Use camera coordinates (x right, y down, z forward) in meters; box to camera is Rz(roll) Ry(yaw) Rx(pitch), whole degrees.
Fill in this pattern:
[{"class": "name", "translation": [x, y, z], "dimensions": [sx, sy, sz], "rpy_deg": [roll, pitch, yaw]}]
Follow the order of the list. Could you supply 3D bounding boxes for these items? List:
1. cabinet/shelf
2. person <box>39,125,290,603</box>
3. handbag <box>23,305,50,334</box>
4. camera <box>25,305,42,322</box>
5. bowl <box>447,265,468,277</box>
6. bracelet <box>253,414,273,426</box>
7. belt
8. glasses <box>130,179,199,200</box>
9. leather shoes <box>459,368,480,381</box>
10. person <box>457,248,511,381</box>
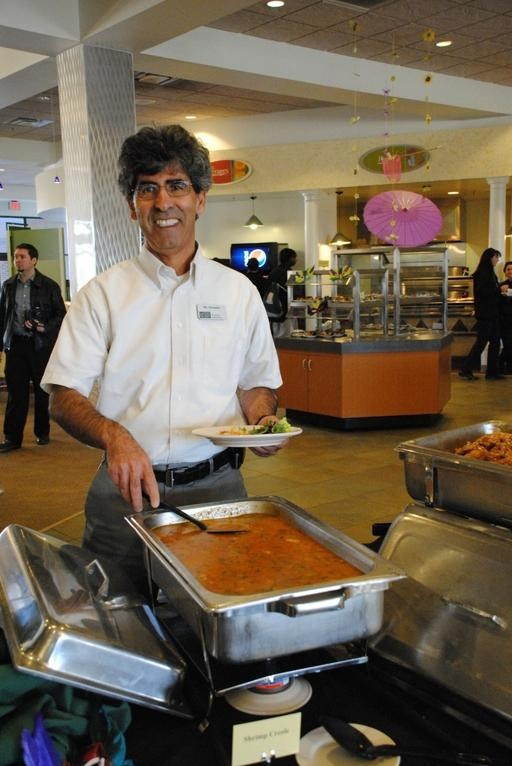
[{"class": "cabinet/shelf", "translation": [1.303, -0.601, 6.779], "dimensions": [1.868, 1.909, 2.380], "rpy_deg": [1, 8, 20]}, {"class": "person", "translation": [-0.195, -0.058, 1.374], "dimensions": [0.658, 1.035, 0.548], "rpy_deg": [-9, 11, -43]}, {"class": "handbag", "translation": [-2.152, -0.618, 5.575], "dimensions": [0.194, 0.268, 0.104], "rpy_deg": [1, 12, 12]}, {"class": "camera", "translation": [-2.177, -0.675, 5.611], "dimensions": [0.132, 0.122, 0.215], "rpy_deg": [14, -16, -23]}, {"class": "bowl", "translation": [4.361, -2.422, 12.433], "dimensions": [0.446, 0.155, 0.395], "rpy_deg": [-1, 3, -35]}, {"class": "bracelet", "translation": [0.019, 0.089, 1.394], "dimensions": [0.025, 0.013, 0.033], "rpy_deg": [-5, -5, -30]}, {"class": "belt", "translation": [-0.134, 0.183, 1.385], "dimensions": [0.137, 0.041, 0.103], "rpy_deg": [-11, 11, -17]}, {"class": "glasses", "translation": [-0.213, -0.427, 1.278], "dimensions": [0.134, 0.042, 0.055], "rpy_deg": [-2, 8, -1]}, {"class": "leather shoes", "translation": [3.528, -0.133, 9.324], "dimensions": [0.503, 0.234, 0.168], "rpy_deg": [-1, 6, 3]}, {"class": "person", "translation": [3.625, -1.085, 9.092], "dimensions": [0.584, 2.035, 0.499], "rpy_deg": [-6, 9, -27]}]
